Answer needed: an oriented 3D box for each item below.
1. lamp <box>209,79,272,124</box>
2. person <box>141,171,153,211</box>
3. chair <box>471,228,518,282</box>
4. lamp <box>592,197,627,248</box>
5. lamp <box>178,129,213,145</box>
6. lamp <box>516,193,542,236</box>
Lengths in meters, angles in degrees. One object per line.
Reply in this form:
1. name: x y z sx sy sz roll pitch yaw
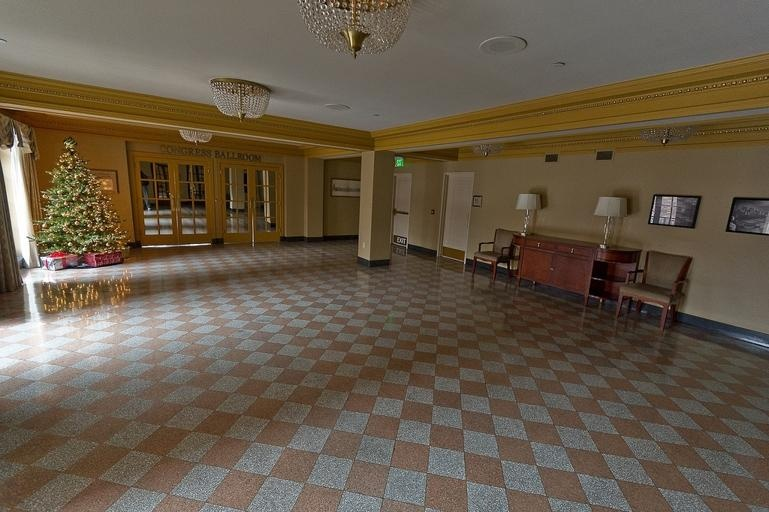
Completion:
1. lamp: -1.960 -2.202 5.735 0.679 0.358 0.646 -1 5 -32
2. person: -6.059 -1.668 10.584 0.188 0.930 0.128 -5 18 -29
3. chair: 2.449 -0.098 9.369 0.950 1.087 1.301 0 14 -14
4. lamp: 4.092 -0.648 7.547 0.472 0.902 0.683 12 17 27
5. lamp: -4.025 -2.548 8.865 0.487 0.170 3.891 -3 14 -24
6. lamp: 3.039 -0.922 8.779 0.469 0.869 0.714 9 16 19
